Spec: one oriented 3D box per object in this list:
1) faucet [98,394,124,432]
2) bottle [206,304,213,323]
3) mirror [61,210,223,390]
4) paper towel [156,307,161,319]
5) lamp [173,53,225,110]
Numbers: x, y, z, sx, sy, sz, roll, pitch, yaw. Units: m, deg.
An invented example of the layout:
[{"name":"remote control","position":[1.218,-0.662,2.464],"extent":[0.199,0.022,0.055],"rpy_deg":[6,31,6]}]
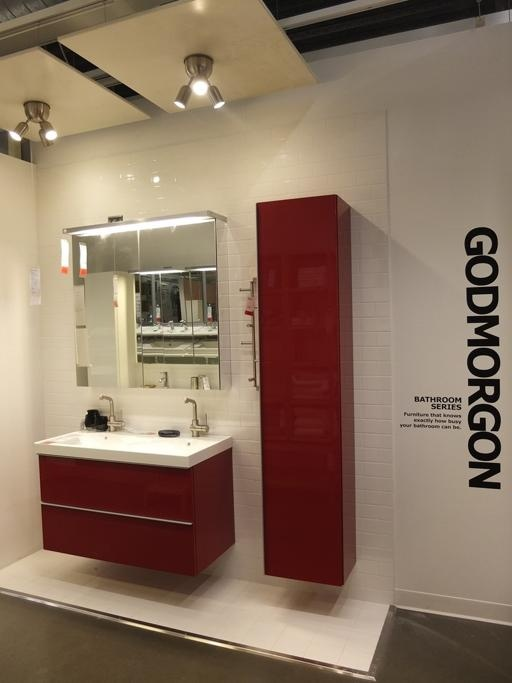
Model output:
[{"name":"faucet","position":[-0.980,0.477,3.730],"extent":[0.230,0.234,0.107],"rpy_deg":[-1,4,39]},{"name":"bottle","position":[-0.266,-0.165,3.259],"extent":[0.038,0.110,0.002],"rpy_deg":[-2,3,13]},{"name":"mirror","position":[-0.670,-0.266,3.474],"extent":[1.234,1.292,0.442],"rpy_deg":[0,2,41]},{"name":"paper towel","position":[-0.594,-0.175,3.412],"extent":[0.039,0.078,0.004],"rpy_deg":[-1,3,33]},{"name":"lamp","position":[-0.280,-1.290,2.759],"extent":[0.264,0.237,0.211],"rpy_deg":[-5,18,-20]}]
